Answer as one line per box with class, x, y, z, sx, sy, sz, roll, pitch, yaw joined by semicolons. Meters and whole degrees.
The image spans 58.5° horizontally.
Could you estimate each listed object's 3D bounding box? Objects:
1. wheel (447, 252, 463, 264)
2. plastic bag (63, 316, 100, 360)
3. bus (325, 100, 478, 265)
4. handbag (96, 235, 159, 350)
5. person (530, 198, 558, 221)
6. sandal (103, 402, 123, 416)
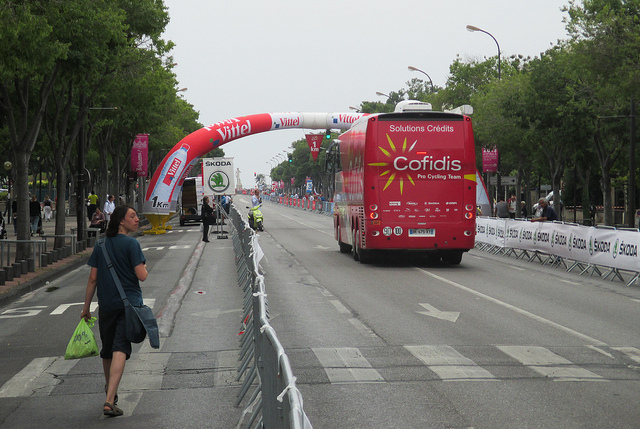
wheel;4.762;1.523;20.208;0.375;0.544;0.556;-1;-4;18
plastic bag;-2.778;1.453;6.657;0.386;0.522;0.225;-13;-27;0
bus;2.793;-1.232;20.277;3.578;5.874;5.078;-2;3;-13
handbag;-2.167;0.930;6.441;0.602;1.191;0.297;-2;2;-12
person;8.341;-0.202;21.080;0.750;0.859;1.104;0;3;21
sandal;-2.224;2.101;6.188;0.090;0.114;0.255;1;1;25
